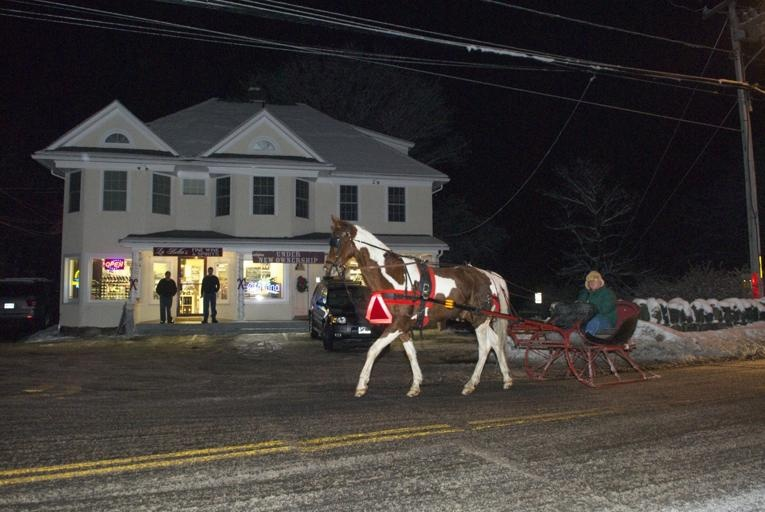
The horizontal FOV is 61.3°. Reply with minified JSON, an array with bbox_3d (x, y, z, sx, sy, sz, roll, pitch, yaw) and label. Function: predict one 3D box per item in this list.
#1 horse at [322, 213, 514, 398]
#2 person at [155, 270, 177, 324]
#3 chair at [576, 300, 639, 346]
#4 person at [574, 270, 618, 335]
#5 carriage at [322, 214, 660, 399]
[{"bbox_3d":[0.865,1.009,13.862,3.915,3.636,1.286,-2,7,-12],"label":"horse"},{"bbox_3d":[-8.869,1.682,26.297,0.722,2.139,1.561,-3,8,-20],"label":"person"},{"bbox_3d":[5.257,1.761,14.766,1.971,1.352,0.829,0,1,-3],"label":"chair"},{"bbox_3d":[5.013,1.158,14.984,1.105,1.611,0.741,2,0,-1],"label":"person"},{"bbox_3d":[2.062,1.228,14.388,6.884,3.901,1.456,1,-5,-10],"label":"carriage"}]
